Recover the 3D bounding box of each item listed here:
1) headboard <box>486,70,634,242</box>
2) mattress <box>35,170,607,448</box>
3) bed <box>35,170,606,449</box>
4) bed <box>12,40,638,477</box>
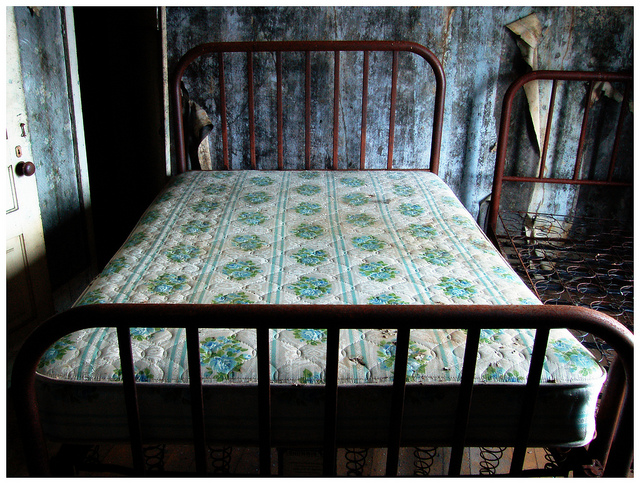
[{"bbox_3d":[1.227,-0.525,2.592,0.758,0.405,0.906,8,-68,16],"label":"headboard"},{"bbox_3d":[-0.058,0.064,2.130,1.557,1.988,0.296,0,-67,-3],"label":"mattress"},{"bbox_3d":[-0.043,0.199,1.537,0.993,1.251,0.184,-1,-74,-2],"label":"bed"},{"bbox_3d":[-0.032,-0.158,1.983,1.585,2.193,1.040,-1,-40,0],"label":"bed"}]
